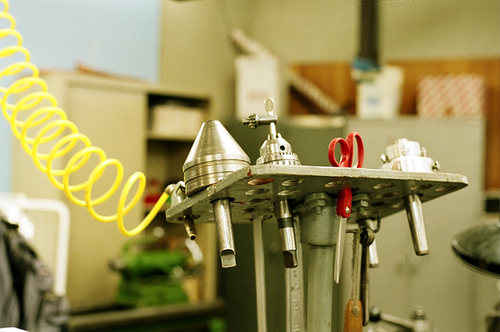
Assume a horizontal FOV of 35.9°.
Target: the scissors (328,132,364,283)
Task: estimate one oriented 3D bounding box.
[{"bbox_3d":[0.331,0.159,2.754,0.045,0.460,0.245,7,4,-18],"label":"scissors"}]
